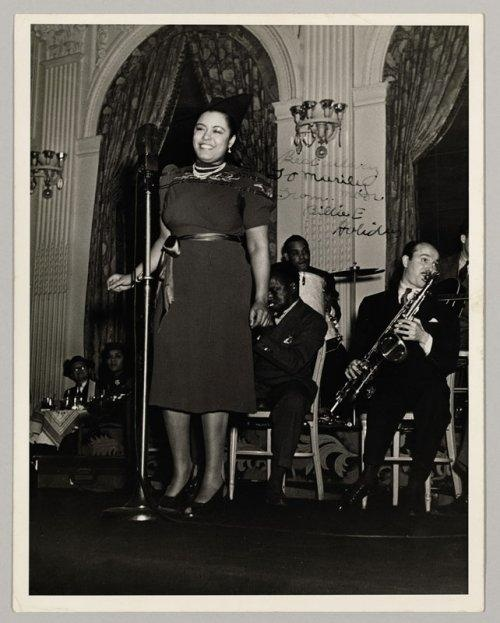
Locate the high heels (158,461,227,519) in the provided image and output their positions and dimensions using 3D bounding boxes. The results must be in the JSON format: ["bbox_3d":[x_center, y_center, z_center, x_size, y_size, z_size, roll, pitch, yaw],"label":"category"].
[{"bbox_3d":[-0.197,0.640,3.001,0.106,0.140,0.322,8,6,24],"label":"high heels"}]

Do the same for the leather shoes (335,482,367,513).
[{"bbox_3d":[0.401,0.735,3.232,0.074,0.125,0.040,40,-3,17],"label":"leather shoes"}]

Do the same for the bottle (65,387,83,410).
[{"bbox_3d":[-0.866,0.431,4.058,0.082,0.075,0.133,2,-7,-28],"label":"bottle"}]

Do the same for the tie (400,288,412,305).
[{"bbox_3d":[0.674,-0.065,3.531,0.022,0.050,0.061,20,-26,-38],"label":"tie"}]

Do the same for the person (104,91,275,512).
[{"bbox_3d":[-0.150,-0.053,3.042,0.434,1.529,0.280,2,1,-9],"label":"person"}]

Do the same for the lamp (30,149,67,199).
[{"bbox_3d":[-1.141,-0.783,4.693,0.200,0.277,0.389,2,1,-14],"label":"lamp"}]

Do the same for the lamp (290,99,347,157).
[{"bbox_3d":[0.332,-0.898,4.051,0.267,0.266,0.297,2,-14,-8],"label":"lamp"}]

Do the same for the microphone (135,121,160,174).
[{"bbox_3d":[-0.362,-0.568,2.903,0.074,0.176,0.128,2,1,-6],"label":"microphone"}]
